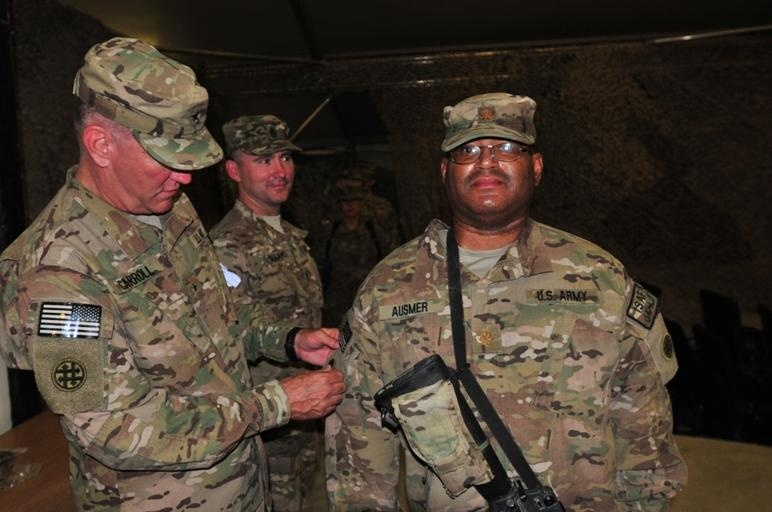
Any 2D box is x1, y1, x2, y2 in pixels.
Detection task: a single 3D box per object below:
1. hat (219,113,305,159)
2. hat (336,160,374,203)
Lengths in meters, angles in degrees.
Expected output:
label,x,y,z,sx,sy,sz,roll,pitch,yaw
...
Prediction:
label,x,y,z,sx,sy,sz,roll,pitch,yaw
hat,-0.900,-0.865,6.080,0.485,0.163,0.345,2,5,43
hat,-0.262,-0.617,6.978,0.308,0.304,0.127,9,8,9
